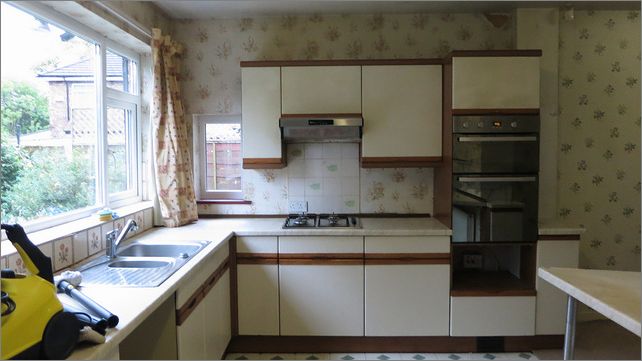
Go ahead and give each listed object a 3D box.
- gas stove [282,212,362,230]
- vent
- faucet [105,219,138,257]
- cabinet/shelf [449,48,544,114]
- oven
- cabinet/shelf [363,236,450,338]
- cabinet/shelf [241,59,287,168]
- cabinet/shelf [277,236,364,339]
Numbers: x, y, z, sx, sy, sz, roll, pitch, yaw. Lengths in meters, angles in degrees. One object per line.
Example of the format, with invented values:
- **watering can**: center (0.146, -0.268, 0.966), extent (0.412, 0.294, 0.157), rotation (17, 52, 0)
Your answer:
- **gas stove**: center (-0.013, 0.449, 5.227), extent (0.849, 0.088, 0.547), rotation (0, 6, -5)
- **vent**: center (0.049, -0.544, 5.341), extent (0.954, 0.187, 0.605), rotation (0, -9, 14)
- **faucet**: center (-1.931, 0.552, 4.443), extent (0.274, 0.341, 0.165), rotation (-4, 9, -34)
- **cabinet/shelf**: center (2.112, -1.097, 5.070), extent (0.630, 0.741, 1.157), rotation (-15, 18, -31)
- **oven**: center (1.874, 0.246, 5.034), extent (0.946, 1.958, 0.604), rotation (2, 8, 10)
- **cabinet/shelf**: center (0.927, 1.101, 5.477), extent (0.938, 1.110, 1.098), rotation (-1, 2, 1)
- **cabinet/shelf**: center (-0.658, -0.701, 5.136), extent (0.435, 1.123, 0.130), rotation (0, 8, -5)
- **cabinet/shelf**: center (0.016, 1.088, 4.964), extent (1.229, 1.139, 0.674), rotation (0, 4, 3)
